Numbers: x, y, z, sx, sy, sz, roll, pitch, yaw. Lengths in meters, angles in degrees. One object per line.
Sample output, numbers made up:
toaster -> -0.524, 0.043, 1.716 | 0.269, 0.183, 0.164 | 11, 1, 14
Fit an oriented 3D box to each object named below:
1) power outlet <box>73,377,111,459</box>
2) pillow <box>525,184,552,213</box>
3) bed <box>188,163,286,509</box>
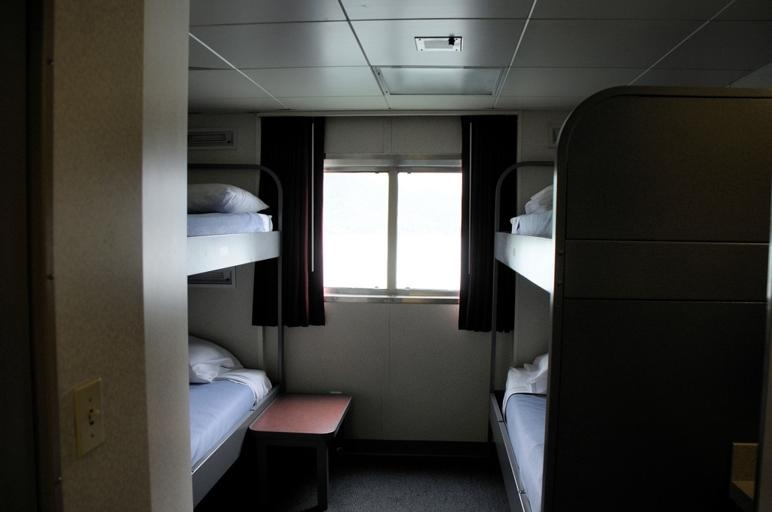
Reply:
power outlet -> -1.077, 0.585, 2.277 | 0.113, 0.261, 0.051 | -8, 14, -36
pillow -> 1.017, -0.363, 4.193 | 0.055, 0.183, 0.200 | 2, -25, -24
bed -> -1.021, 0.526, 4.279 | 0.535, 2.204, 1.845 | 0, 12, -4
